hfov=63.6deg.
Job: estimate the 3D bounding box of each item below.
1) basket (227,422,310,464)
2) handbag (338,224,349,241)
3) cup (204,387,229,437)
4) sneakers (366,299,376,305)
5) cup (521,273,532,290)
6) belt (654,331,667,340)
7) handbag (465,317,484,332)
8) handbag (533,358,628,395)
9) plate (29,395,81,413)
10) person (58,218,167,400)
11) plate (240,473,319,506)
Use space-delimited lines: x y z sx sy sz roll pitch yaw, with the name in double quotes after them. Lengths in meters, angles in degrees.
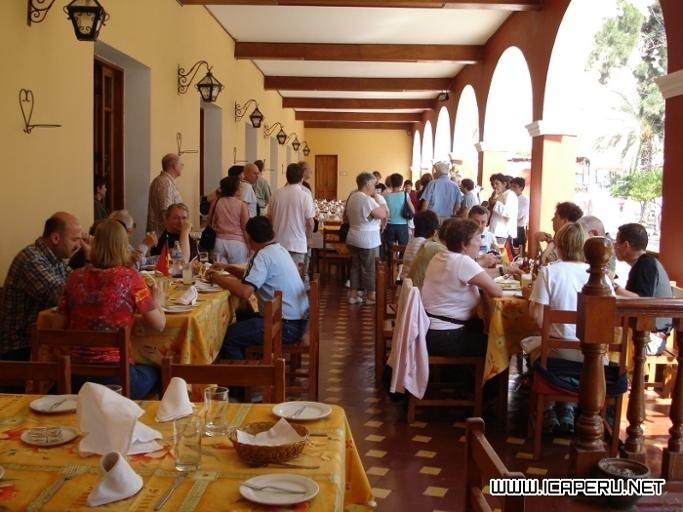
-0.260 0.664 2.002 0.277 0.077 0.252 1 9 7 "basket"
0.038 -0.396 9.197 0.089 0.192 0.245 7 -30 -8 "handbag"
-0.483 0.594 2.110 0.092 0.168 0.188 -2 8 -14 "cup"
0.440 0.698 8.402 0.135 0.067 0.054 0 4 9 "sneakers"
1.567 0.221 4.668 0.077 0.152 0.085 -3 4 0 "cup"
2.730 0.674 4.698 0.092 0.036 0.096 4 5 36 "belt"
1.173 0.572 4.842 0.147 0.083 0.156 4 -2 26 "handbag"
1.595 0.818 3.689 0.579 0.199 0.212 2 9 18 "handbag"
-1.197 0.616 2.300 0.203 0.027 0.154 -1 9 -6 "plate"
-1.327 0.366 3.220 0.573 1.145 0.571 -5 9 -30 "person"
-0.196 0.738 1.738 0.246 0.033 0.142 -2 9 -11 "plate"
